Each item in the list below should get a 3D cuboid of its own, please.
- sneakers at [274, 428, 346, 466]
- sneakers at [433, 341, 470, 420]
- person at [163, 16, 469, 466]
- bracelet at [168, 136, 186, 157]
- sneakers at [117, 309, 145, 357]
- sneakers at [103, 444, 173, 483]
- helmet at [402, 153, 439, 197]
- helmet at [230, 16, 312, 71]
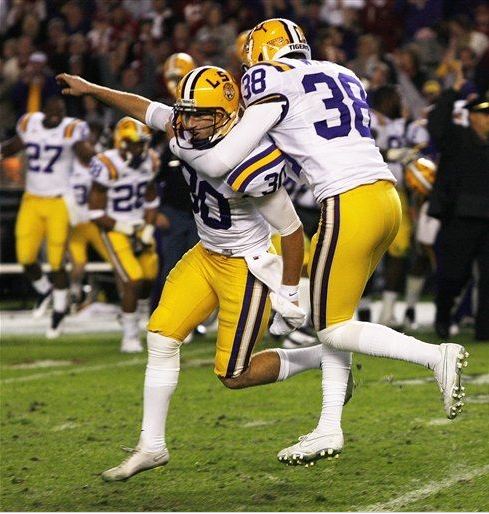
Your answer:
[{"bbox_3d":[0.234,0.637,2.459,0.274,0.117,0.088,-15,-39,5],"label":"sneakers"},{"bbox_3d":[0.706,0.402,2.417,0.144,0.266,0.099,-6,12,14],"label":"sneakers"},{"bbox_3d":[0.261,-0.064,2.471,0.939,1.556,0.365,0,1,-5],"label":"person"},{"bbox_3d":[-0.230,-0.371,2.435,0.071,0.022,0.069,34,8,-46],"label":"bracelet"},{"bbox_3d":[-0.870,0.588,5.434,0.141,0.233,0.373,-4,25,-6],"label":"sneakers"},{"bbox_3d":[-0.377,0.723,2.546,0.252,0.083,0.086,-9,5,-33],"label":"sneakers"},{"bbox_3d":[1.424,-0.647,5.832,0.313,0.312,0.265,-15,-32,35],"label":"helmet"},{"bbox_3d":[0.103,-0.775,2.610,0.210,0.194,0.273,-15,33,-37],"label":"helmet"}]
